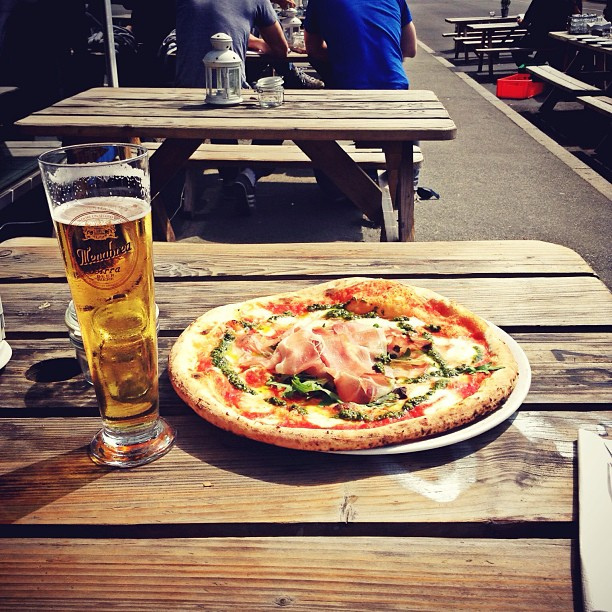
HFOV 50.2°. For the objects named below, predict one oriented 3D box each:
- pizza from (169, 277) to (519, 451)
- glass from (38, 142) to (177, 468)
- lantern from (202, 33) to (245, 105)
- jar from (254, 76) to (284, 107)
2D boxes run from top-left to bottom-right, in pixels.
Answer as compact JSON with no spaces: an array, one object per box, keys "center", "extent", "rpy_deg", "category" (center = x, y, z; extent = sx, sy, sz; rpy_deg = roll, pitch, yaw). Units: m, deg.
[{"center":[0.048,0.058,0.892],"extent":[0.448,0.057,0.341],"rpy_deg":[-10,35,-17],"category":"pizza"},{"center":[-0.206,0.001,0.764],"extent":[0.163,0.370,0.146],"rpy_deg":[2,29,4],"category":"glass"},{"center":[-0.393,-1.107,3.097],"extent":[0.291,0.357,0.203],"rpy_deg":[1,27,-6],"category":"lantern"},{"center":[-0.175,-1.040,3.163],"extent":[0.174,0.136,0.155],"rpy_deg":[-3,29,-3],"category":"jar"}]
